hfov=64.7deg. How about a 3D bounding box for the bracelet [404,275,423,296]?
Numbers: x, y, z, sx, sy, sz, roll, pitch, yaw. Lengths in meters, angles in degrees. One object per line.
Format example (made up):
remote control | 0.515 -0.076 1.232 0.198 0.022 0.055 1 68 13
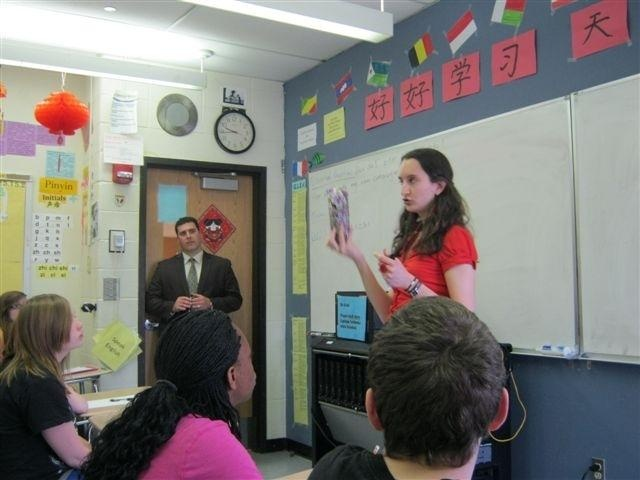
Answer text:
bracelet | 0.435 0.214 2.357 0.031 0.078 0.075 26 17 -16

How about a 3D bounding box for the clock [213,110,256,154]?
clock | -0.803 -0.995 4.662 0.409 0.490 0.052 -1 -2 -33

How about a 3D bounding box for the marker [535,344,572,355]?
marker | 1.273 0.590 2.729 0.010 0.050 0.200 2 -4 -40

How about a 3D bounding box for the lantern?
lantern | -1.798 -0.832 3.548 0.351 0.375 0.363 -1 1 2
